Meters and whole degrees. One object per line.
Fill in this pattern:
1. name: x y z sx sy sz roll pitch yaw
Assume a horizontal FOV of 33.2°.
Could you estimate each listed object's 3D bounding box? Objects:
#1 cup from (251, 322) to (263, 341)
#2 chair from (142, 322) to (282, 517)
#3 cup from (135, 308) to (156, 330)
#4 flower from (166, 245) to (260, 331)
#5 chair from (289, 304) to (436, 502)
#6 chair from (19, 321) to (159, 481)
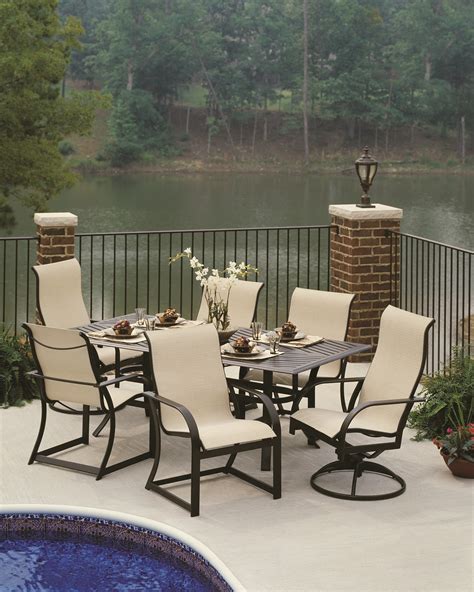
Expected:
1. cup: 0.136 0.239 5.418 0.107 0.133 0.113 -2 5 0
2. chair: -0.174 0.682 4.500 0.656 0.895 0.732 -6 10 -42
3. cup: -0.619 0.167 5.461 0.120 0.166 0.176 0 -2 -11
4. flower: -0.147 0.002 5.928 0.485 0.464 0.431 6 14 8
5. chair: 0.701 0.585 4.607 0.734 0.974 0.789 7 11 43
6. chair: -0.922 0.605 4.794 0.654 0.910 0.519 4 13 31
